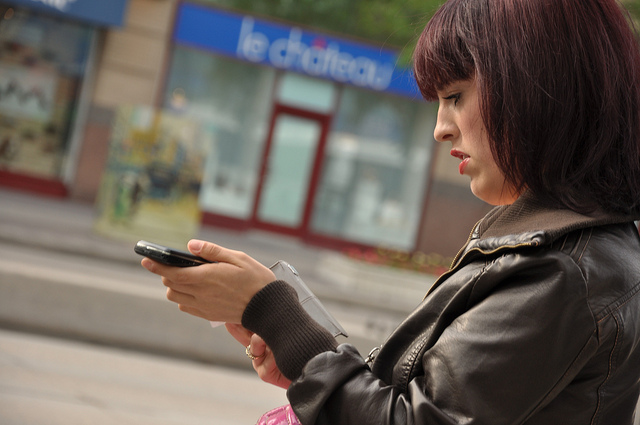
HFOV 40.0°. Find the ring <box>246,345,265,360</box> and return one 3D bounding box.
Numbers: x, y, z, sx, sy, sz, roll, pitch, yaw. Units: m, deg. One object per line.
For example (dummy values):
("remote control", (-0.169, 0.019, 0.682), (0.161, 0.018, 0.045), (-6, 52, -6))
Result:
("ring", (-0.168, 0.367, 2.297), (0.047, 0.038, 0.037), (13, 1, -6))
